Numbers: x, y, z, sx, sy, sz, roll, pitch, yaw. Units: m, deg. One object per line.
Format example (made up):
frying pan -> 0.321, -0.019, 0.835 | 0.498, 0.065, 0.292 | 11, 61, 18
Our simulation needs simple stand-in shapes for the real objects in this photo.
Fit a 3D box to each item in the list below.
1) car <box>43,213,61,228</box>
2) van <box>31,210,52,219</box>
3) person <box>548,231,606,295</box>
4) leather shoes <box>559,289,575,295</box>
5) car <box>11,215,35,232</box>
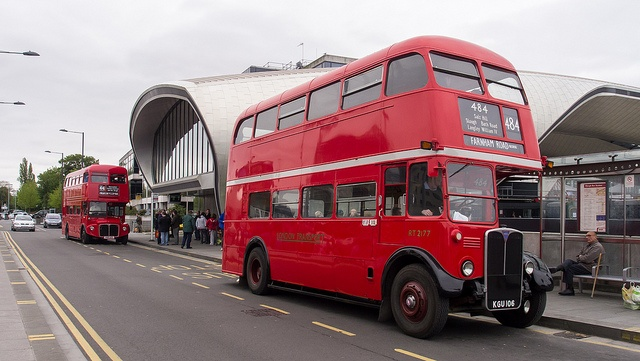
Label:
car -> -36.097, 5.509, 59.595 | 1.825, 1.773, 3.046 | 3, -2, -35
van -> -59.360, 7.164, 93.816 | 4.412, 2.091, 2.828 | -7, -4, 18
person -> 9.296, 2.947, 15.736 | 1.548, 2.260, 0.760 | 2, -1, -20
leather shoes -> 8.791, 3.991, 15.735 | 0.523, 0.229, 0.175 | 3, -5, -6
car -> -34.158, 4.953, 50.757 | 2.038, 1.738, 3.142 | 3, -2, -34
